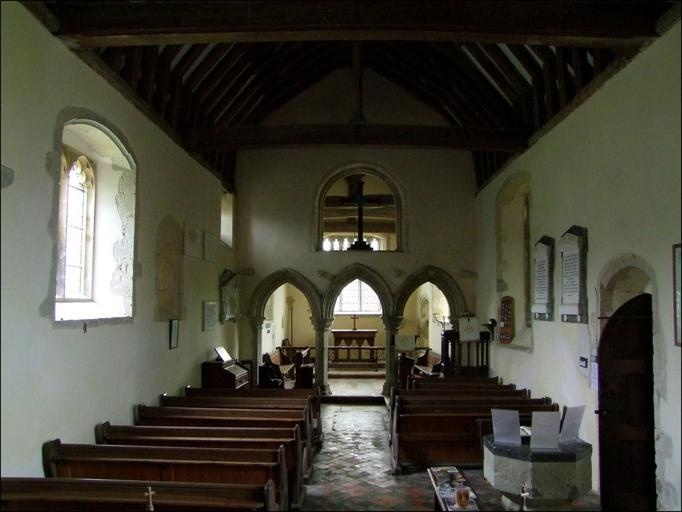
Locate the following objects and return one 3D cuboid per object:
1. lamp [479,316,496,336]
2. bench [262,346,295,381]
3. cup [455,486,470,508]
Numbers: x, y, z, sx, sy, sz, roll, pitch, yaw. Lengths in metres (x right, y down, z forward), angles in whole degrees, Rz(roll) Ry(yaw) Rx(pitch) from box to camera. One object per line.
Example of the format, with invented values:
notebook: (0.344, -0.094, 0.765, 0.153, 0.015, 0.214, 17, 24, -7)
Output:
lamp: (3.049, 1.446, 11.603, 0.137, 0.372, 0.622, -3, -1, -6)
bench: (-1.684, 2.843, 14.949, 0.342, 0.692, 1.021, -2, -5, 6)
cup: (1.210, 2.415, 5.650, 0.122, 0.167, 0.130, -2, -8, 0)
